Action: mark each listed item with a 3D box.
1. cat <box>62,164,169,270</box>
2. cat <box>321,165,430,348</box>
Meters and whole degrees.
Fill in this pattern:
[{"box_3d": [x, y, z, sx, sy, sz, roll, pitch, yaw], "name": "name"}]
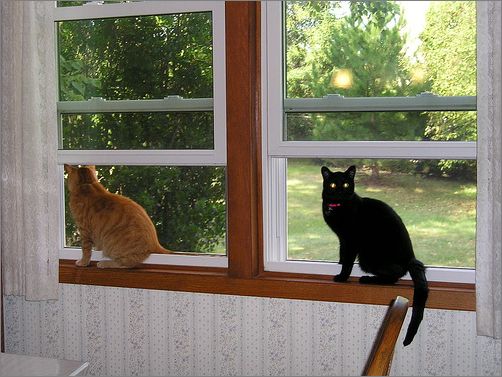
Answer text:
[{"box_3d": [-0.663, 0.127, 3.275, 0.555, 0.478, 0.174, 2, 9, 18], "name": "cat"}, {"box_3d": [0.549, 0.256, 2.960, 0.207, 0.701, 0.484, -9, 12, -44], "name": "cat"}]
